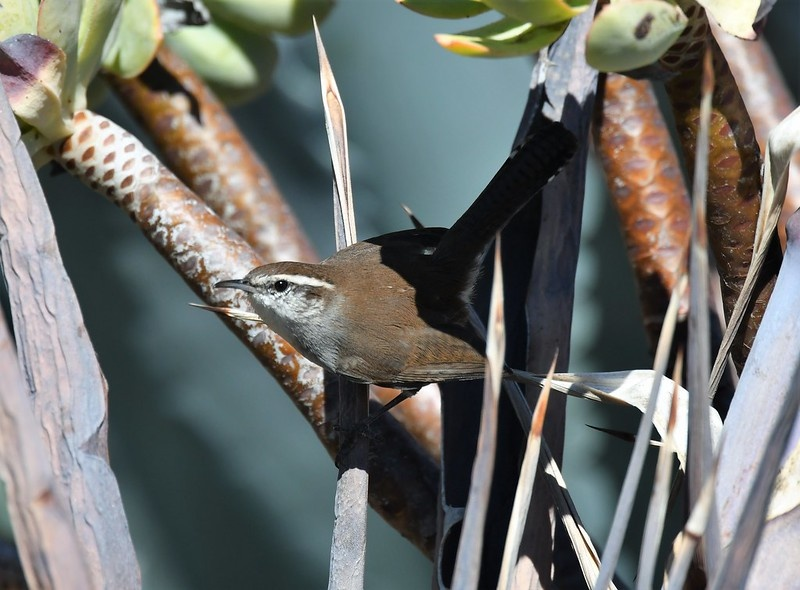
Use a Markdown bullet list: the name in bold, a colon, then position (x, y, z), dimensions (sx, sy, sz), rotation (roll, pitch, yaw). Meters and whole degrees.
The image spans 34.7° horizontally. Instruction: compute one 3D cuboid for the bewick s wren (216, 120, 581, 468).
- **bewick s wren**: position (0.045, 0.009, 1.822), dimensions (0.485, 0.339, 0.223), rotation (-20, 30, 3)
